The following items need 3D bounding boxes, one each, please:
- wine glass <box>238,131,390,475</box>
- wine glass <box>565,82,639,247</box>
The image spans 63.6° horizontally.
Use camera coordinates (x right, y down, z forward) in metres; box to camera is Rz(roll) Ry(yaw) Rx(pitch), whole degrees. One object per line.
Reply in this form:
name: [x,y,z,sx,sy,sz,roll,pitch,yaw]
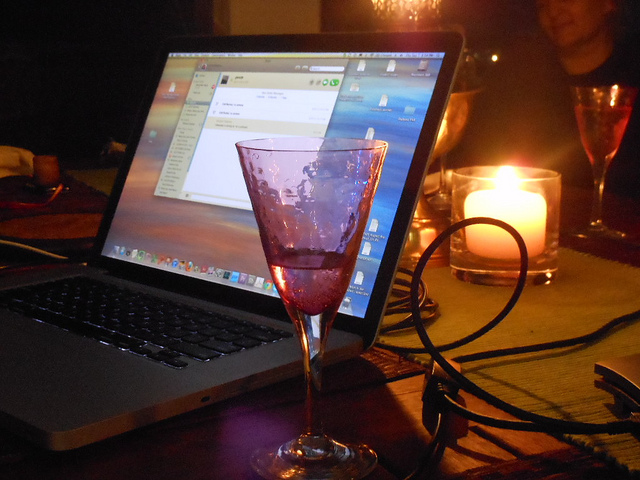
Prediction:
wine glass: [-0.007,0.042,0.380,0.102,0.229,0.129,0,15,-8]
wine glass: [0.552,-0.168,1.032,0.136,0.280,0.428,9,16,24]
